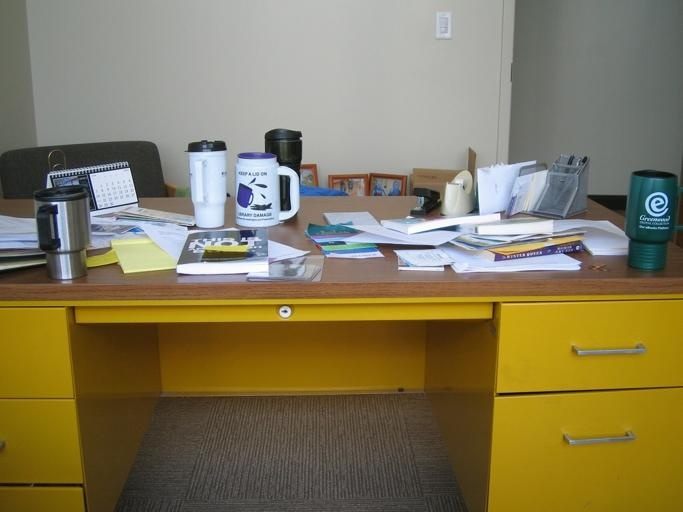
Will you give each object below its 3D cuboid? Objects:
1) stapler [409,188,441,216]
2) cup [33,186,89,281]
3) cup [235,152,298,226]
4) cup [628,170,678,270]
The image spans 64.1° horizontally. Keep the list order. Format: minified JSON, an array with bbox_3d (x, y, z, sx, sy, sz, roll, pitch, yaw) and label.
[{"bbox_3d":[0.286,-0.180,1.795,0.053,0.097,0.179,4,16,32],"label":"stapler"},{"bbox_3d":[-0.631,-0.052,1.252,0.114,0.205,0.087,-9,20,-27],"label":"cup"},{"bbox_3d":[-0.194,-0.206,1.659,0.247,0.249,0.155,2,20,-4],"label":"cup"},{"bbox_3d":[0.747,-0.091,1.325,0.111,0.224,0.149,10,20,26],"label":"cup"}]
